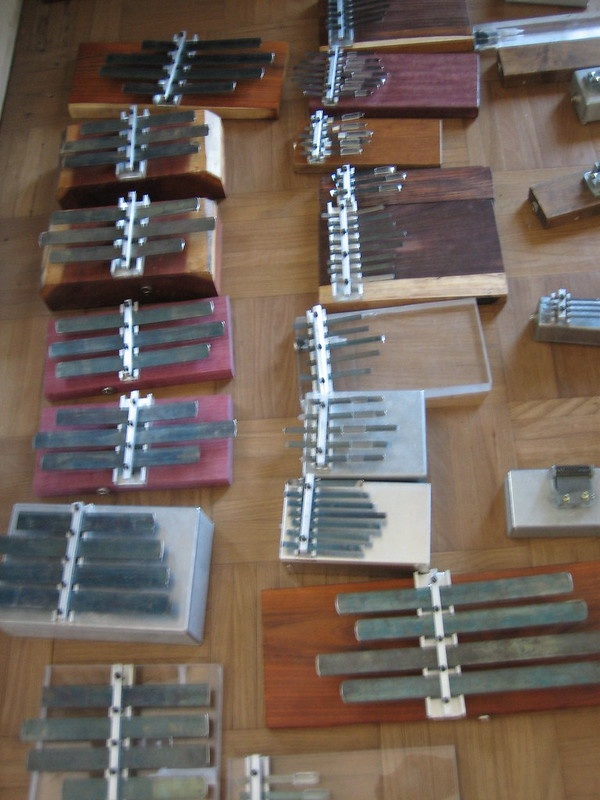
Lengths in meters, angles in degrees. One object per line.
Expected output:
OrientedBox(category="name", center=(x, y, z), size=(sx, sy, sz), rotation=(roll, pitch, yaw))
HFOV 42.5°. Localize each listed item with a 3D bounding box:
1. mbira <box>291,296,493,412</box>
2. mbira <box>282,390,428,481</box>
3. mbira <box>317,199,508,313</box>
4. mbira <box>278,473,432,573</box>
OrientedBox(category="mbira", center=(0.389, -0.204, 3.177), size=(0.824, 0.353, 0.499), rotation=(1, 55, 3))
OrientedBox(category="mbira", center=(0.224, 0.124, 2.945), size=(0.509, 0.169, 0.311), rotation=(-3, 64, 9))
OrientedBox(category="mbira", center=(0.476, -0.636, 3.398), size=(0.770, 0.196, 0.508), rotation=(-1, 54, 1))
OrientedBox(category="mbira", center=(0.224, 0.462, 2.922), size=(0.533, 0.206, 0.294), rotation=(0, 80, 11))
